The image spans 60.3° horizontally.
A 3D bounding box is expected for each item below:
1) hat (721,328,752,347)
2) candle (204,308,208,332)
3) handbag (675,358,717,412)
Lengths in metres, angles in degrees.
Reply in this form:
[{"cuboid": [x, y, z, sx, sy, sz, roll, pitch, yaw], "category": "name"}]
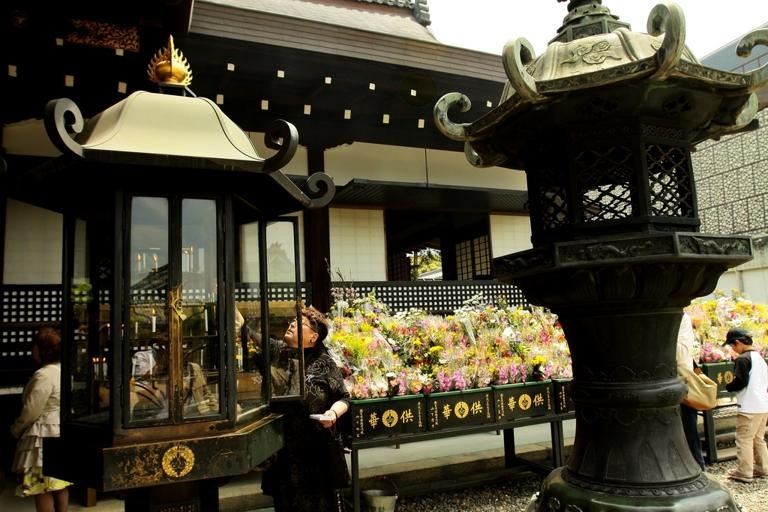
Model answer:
[{"cuboid": [4.370, 1.009, 8.199, 0.195, 0.148, 0.274, -2, 0, -45], "category": "hat"}, {"cuboid": [-1.319, 0.475, 4.873, 0.034, 0.166, 0.008, -2, -5, -22], "category": "candle"}, {"cuboid": [3.448, 1.453, 7.467, 0.574, 0.541, 0.450, 1, 4, 6], "category": "handbag"}]
